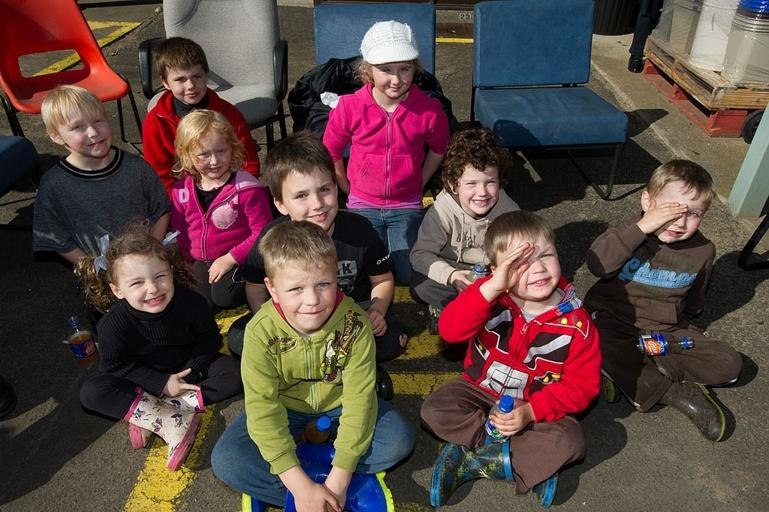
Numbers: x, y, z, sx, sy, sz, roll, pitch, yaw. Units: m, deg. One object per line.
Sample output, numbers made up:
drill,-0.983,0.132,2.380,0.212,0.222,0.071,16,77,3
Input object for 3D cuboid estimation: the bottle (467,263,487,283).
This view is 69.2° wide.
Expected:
bottle,0.643,0.114,3.884,0.084,0.069,0.137,27,49,17

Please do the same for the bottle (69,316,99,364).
bottle,-2.268,0.606,4.161,0.247,0.253,0.140,23,37,36

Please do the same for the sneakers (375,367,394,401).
sneakers,-0.003,0.889,3.911,0.078,0.212,0.145,-15,7,-35

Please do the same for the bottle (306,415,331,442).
bottle,-0.404,1.063,3.425,0.097,0.097,0.260,-32,-3,-21

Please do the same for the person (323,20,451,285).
person,-0.035,-0.705,4.847,1.016,2.448,0.854,8,31,10

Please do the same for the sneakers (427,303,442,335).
sneakers,0.419,0.490,4.365,0.076,0.237,0.165,1,10,14

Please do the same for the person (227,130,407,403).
person,-0.534,0.017,3.952,1.181,1.566,0.976,-6,26,-12

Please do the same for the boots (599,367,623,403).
boots,1.609,0.937,3.980,0.152,0.244,0.078,-21,3,33

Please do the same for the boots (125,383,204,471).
boots,-1.461,1.095,3.706,0.394,0.333,0.420,10,39,17

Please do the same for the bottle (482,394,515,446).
bottle,0.729,1.055,3.452,0.145,0.372,0.152,9,11,-2

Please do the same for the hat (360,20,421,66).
hat,0.034,-1.736,4.424,0.455,0.264,0.625,-10,33,-11

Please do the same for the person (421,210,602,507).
person,0.780,0.689,3.438,1.049,1.456,1.183,27,46,34

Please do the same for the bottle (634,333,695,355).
bottle,1.945,0.591,3.826,0.314,0.119,0.162,-7,15,-9
